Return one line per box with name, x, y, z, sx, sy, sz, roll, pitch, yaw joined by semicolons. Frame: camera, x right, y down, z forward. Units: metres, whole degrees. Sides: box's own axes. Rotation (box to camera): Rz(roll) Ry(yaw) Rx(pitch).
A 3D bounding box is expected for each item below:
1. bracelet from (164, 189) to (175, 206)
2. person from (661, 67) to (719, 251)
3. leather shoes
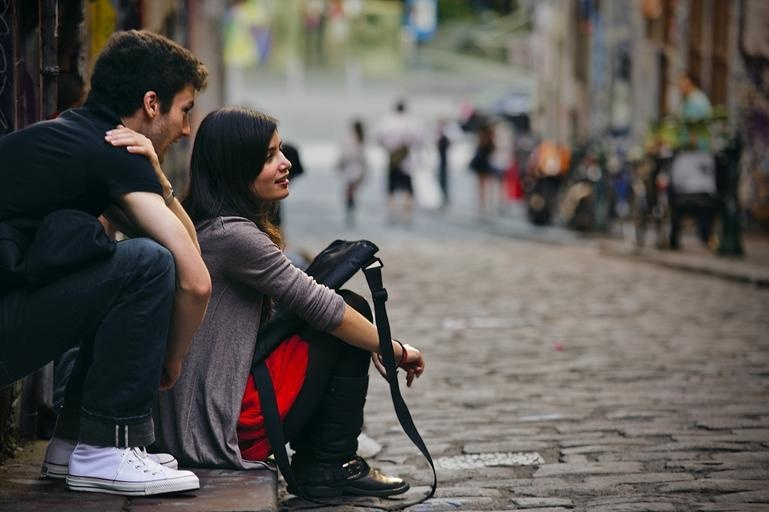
bracelet;-0.973;-0.262;6.225;0.042;0.061;0.021;11;1;-7
person;1.719;-0.559;7.492;0.240;0.880;1.424;4;10;14
leather shoes;-0.172;1.065;6.633;0.566;0.257;0.214;-2;1;-9
